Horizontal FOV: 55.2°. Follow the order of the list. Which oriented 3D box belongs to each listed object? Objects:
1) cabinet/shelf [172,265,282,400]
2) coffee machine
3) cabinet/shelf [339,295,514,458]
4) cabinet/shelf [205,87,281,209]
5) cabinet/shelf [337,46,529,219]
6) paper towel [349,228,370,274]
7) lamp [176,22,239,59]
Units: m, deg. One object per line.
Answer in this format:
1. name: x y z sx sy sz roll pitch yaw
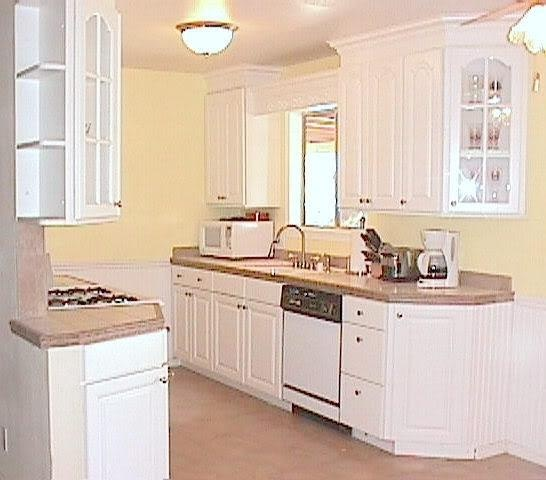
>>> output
1. cabinet/shelf: -0.335 0.766 4.756 0.785 1.137 1.407 2 0 -43
2. coffee machine: 1.130 0.128 3.600 0.324 0.551 0.289 3 2 31
3. cabinet/shelf: 1.021 0.674 3.579 0.820 1.382 1.162 2 -2 -34
4. cabinet/shelf: -0.332 -0.937 5.328 0.942 1.196 0.307 1 2 34
5. cabinet/shelf: 1.146 -0.761 3.640 0.437 1.128 1.111 0 2 -42
6. paper towel: 0.681 0.135 4.162 0.144 0.307 0.145 10 -8 35
7. lamp: -0.494 -1.484 3.879 0.449 0.211 0.273 0 2 -5
